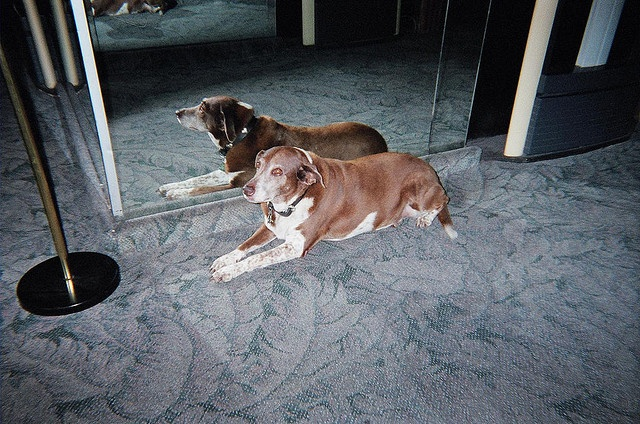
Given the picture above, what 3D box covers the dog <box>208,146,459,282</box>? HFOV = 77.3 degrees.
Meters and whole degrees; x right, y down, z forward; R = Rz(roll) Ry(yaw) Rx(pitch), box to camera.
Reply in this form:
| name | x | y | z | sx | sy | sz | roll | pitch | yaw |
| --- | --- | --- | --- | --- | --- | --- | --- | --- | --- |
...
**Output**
| name | x | y | z | sx | sy | sz | roll | pitch | yaw |
| --- | --- | --- | --- | --- | --- | --- | --- | --- | --- |
| dog | 0.044 | -0.251 | 3.043 | 1.924 | 0.788 | 0.775 | -14 | 42 | -14 |
